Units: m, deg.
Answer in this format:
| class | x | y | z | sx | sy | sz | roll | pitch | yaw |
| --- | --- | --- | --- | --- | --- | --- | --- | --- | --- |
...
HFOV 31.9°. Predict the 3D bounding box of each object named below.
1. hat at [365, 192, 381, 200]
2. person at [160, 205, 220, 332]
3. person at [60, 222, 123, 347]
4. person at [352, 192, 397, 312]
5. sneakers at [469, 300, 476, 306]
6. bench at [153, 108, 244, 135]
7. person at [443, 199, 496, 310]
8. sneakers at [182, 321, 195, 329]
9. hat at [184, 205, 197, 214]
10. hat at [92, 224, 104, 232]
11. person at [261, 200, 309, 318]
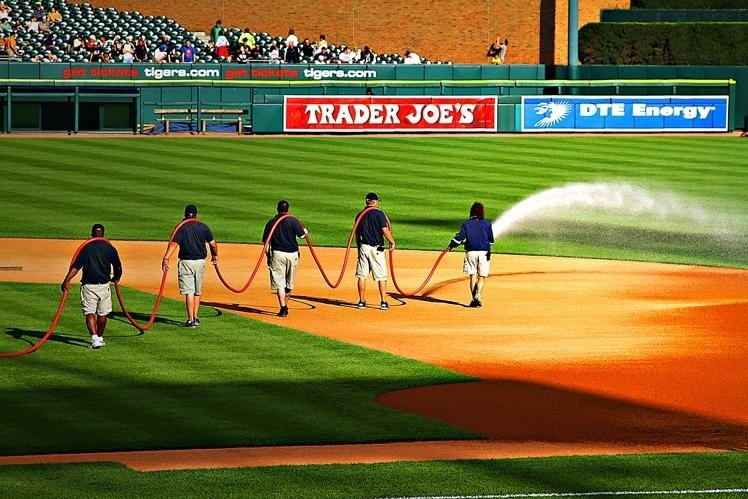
| class | x | y | z | sx | sy | sz | roll | pitch | yaw |
| --- | --- | --- | --- | --- | --- | --- | --- | --- | --- |
| hat | -0.084 | -1.250 | 30.797 | 0.365 | 0.165 | 0.259 | 2 | 5 | 33 |
| person | -4.115 | 0.387 | 29.483 | 1.131 | 2.780 | 1.323 | 1 | 5 | -6 |
| person | -6.056 | 0.812 | 28.276 | 1.196 | 2.706 | 0.551 | 0 | 5 | -23 |
| person | 0.002 | 0.048 | 31.020 | 0.896 | 2.774 | 0.848 | 2 | 5 | -1 |
| sneakers | 2.366 | 1.287 | 31.210 | 0.149 | 0.202 | 0.234 | -1 | 1 | -5 |
| bench | -7.460 | -5.556 | 56.291 | 4.226 | 1.222 | 2.917 | 0 | 4 | -15 |
| person | 2.377 | 0.114 | 31.376 | 0.880 | 2.501 | 0.897 | 2 | 5 | 4 |
| sneakers | -4.172 | 1.695 | 29.679 | 0.122 | 0.113 | 0.317 | -3 | 6 | -38 |
| hat | -4.044 | -0.911 | 29.324 | 0.261 | 0.146 | 0.247 | -7 | 12 | -37 |
| hat | -5.891 | -0.487 | 28.208 | 0.203 | 0.205 | 0.240 | 5 | -4 | -18 |
| person | -2.076 | 0.219 | 30.392 | 0.942 | 2.690 | 0.771 | 2 | 5 | -3 |
